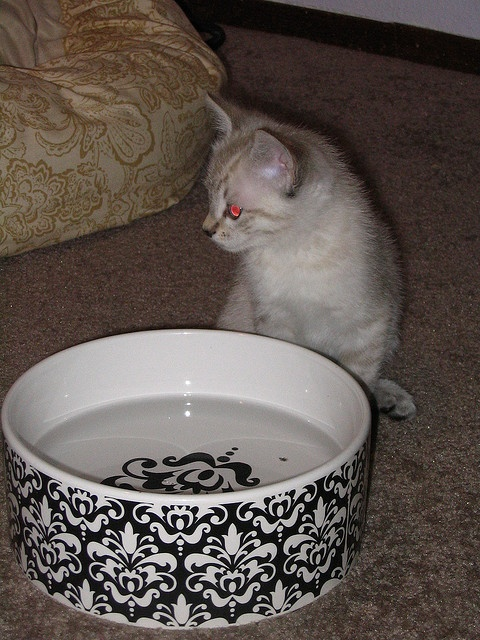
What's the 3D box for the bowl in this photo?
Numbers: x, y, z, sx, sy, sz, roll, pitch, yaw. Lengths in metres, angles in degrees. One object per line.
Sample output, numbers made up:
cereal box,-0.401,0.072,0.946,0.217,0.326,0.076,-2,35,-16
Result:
bowl,-0.059,0.125,0.783,0.368,0.210,0.404,4,40,-3
